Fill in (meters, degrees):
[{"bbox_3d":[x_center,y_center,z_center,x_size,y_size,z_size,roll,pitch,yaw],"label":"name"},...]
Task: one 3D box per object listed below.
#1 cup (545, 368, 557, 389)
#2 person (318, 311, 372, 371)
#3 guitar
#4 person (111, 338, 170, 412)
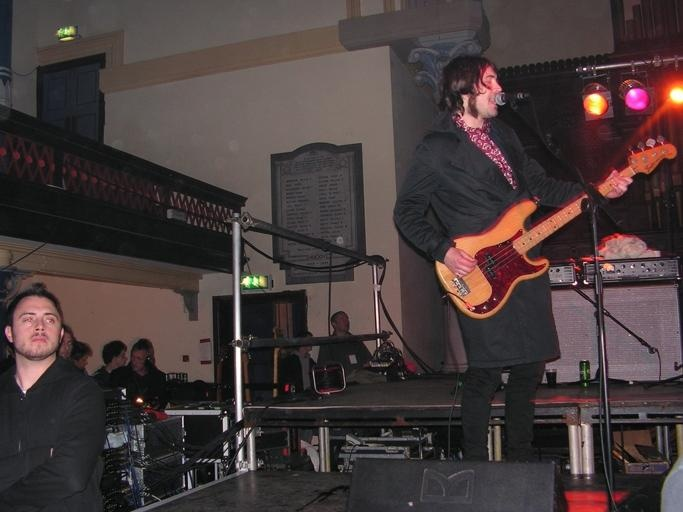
[{"bbox_3d":[1.976,1.186,8.095,0.139,0.215,0.144,3,-21,1],"label":"cup"},{"bbox_3d":[0.049,1.071,10.358,0.703,1.126,0.350,-1,-46,-5],"label":"person"},{"bbox_3d":[2.060,-0.223,7.887,2.529,0.860,0.373,-36,1,-3],"label":"guitar"},{"bbox_3d":[-2.665,1.686,10.993,0.829,1.247,0.669,3,4,-7],"label":"person"}]
